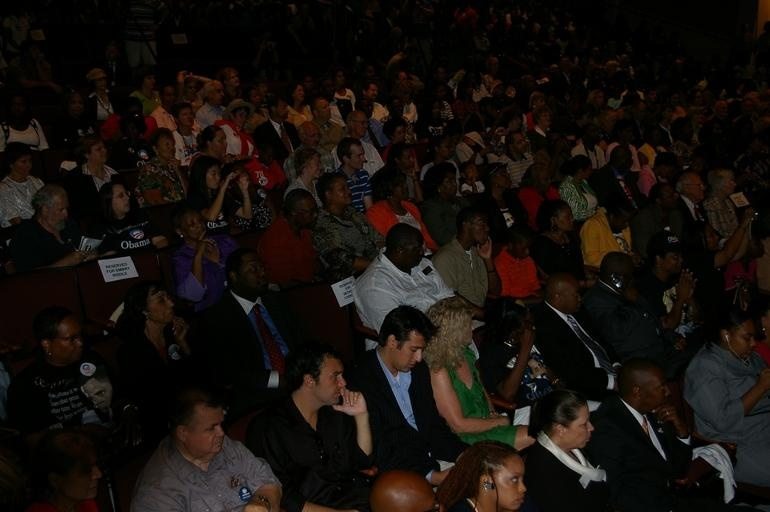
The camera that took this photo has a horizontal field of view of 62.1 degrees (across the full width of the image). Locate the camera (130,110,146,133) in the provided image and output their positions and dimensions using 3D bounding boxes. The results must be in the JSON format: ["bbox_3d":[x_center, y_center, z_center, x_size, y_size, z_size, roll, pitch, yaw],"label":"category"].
[{"bbox_3d":[-3.784,-2.044,9.806,0.141,0.210,0.274,7,-10,1],"label":"camera"}]

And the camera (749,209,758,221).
[{"bbox_3d":[4.878,-0.551,8.444,0.128,0.173,0.052,-26,16,-22],"label":"camera"}]

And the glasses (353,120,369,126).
[{"bbox_3d":[-0.396,-2.073,9.826,0.144,0.045,0.147,2,7,42],"label":"glasses"}]

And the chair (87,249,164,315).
[{"bbox_3d":[-3.002,0.298,7.198,0.736,0.989,0.739,-2,-10,-32],"label":"chair"}]

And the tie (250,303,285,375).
[{"bbox_3d":[-1.147,0.813,6.128,0.129,0.682,0.096,-28,-6,29],"label":"tie"}]

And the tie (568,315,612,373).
[{"bbox_3d":[2.139,0.817,6.740,0.134,0.271,0.867,19,17,-23],"label":"tie"}]

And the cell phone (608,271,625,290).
[{"bbox_3d":[2.541,0.262,6.967,0.155,0.171,0.130,12,22,-29],"label":"cell phone"}]

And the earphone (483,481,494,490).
[{"bbox_3d":[0.728,1.622,4.501,0.063,0.046,0.021,-4,4,19],"label":"earphone"}]

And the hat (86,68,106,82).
[{"bbox_3d":[-5.244,-3.303,11.554,0.261,0.178,0.320,-4,27,-23],"label":"hat"}]

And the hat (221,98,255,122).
[{"bbox_3d":[-2.359,-2.311,10.198,0.339,0.342,0.526,17,26,20],"label":"hat"}]

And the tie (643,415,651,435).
[{"bbox_3d":[2.242,1.441,5.465,0.094,0.126,0.041,1,-16,-32],"label":"tie"}]
